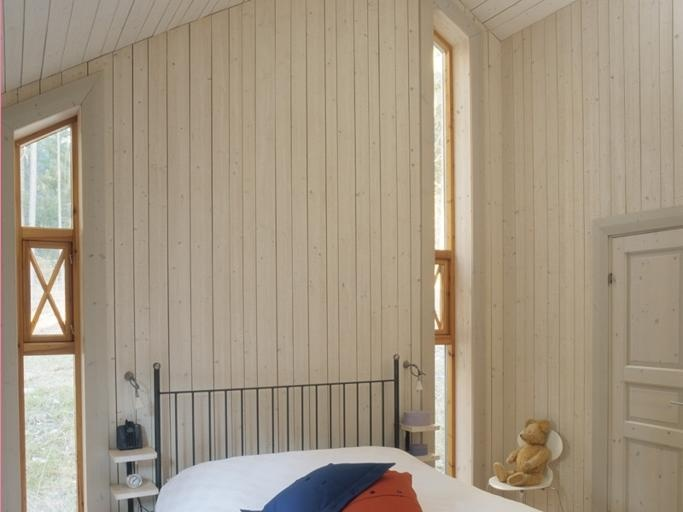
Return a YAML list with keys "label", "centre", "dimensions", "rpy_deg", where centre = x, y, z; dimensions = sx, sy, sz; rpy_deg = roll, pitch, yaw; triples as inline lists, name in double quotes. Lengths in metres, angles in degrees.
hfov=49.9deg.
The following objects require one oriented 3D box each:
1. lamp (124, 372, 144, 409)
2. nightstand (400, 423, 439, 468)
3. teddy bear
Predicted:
- label: "lamp"
  centre: [-1.432, 0.923, 5.105]
  dimensions: [0.044, 0.262, 0.124]
  rpy_deg: [-8, -4, 43]
- label: "nightstand"
  centre: [0.587, 1.438, 5.754]
  dimensions: [0.312, 0.391, 0.280]
  rpy_deg: [1, -7, -11]
- label: "teddy bear"
  centre: [1.433, 1.535, 5.769]
  dimensions: [0.336, 0.588, 0.409]
  rpy_deg: [9, -12, 6]
